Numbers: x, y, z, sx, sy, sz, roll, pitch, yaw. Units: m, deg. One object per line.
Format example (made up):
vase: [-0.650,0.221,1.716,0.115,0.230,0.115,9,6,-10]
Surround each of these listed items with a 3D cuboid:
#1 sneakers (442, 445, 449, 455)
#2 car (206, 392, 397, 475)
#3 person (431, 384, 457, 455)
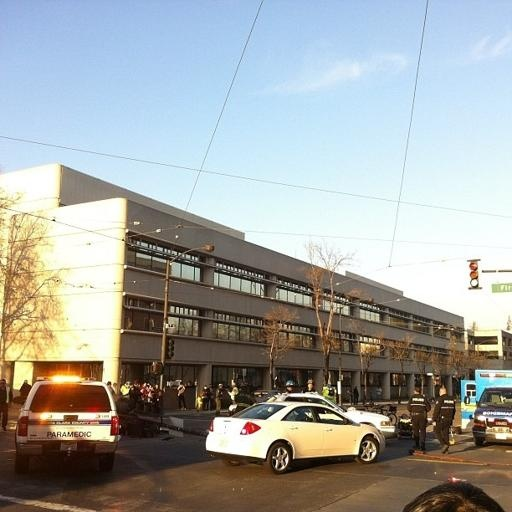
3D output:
sneakers: [5.988,6.057,16.559,0.205,0.278,0.517,-4,-14,19]
car: [0.931,4.296,13.034,3.906,1.390,1.789,4,-11,-37]
person: [6.102,5.275,16.992,0.683,2.061,1.595,-3,-13,19]
